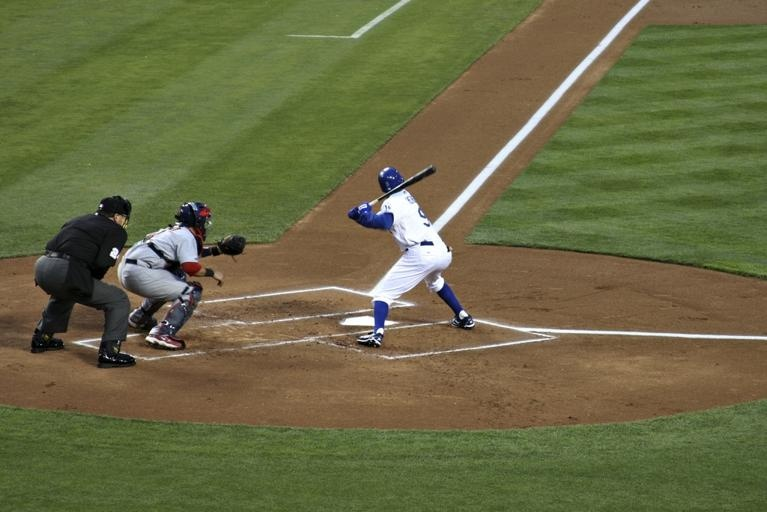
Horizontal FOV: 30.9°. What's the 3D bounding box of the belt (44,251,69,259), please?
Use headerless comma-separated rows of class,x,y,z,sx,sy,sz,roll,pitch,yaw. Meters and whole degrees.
belt,-4.542,-0.021,19.180,0.339,0.087,0.092,11,9,24

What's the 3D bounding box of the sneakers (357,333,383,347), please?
sneakers,-0.165,1.192,19.932,0.390,0.202,0.226,7,10,-10

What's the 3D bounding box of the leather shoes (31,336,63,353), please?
leather shoes,-4.773,1.218,19.546,0.510,0.215,0.199,-6,25,-23

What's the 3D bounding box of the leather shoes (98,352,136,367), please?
leather shoes,-3.729,1.434,19.190,0.523,0.216,0.204,-3,14,-15

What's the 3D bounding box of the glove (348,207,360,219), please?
glove,-0.417,-0.626,20.288,0.147,0.199,0.263,13,9,-2

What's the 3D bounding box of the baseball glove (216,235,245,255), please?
baseball glove,-2.323,-0.160,20.674,0.419,0.184,0.315,-9,6,42

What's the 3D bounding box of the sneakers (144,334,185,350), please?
sneakers,-3.104,1.218,19.788,0.704,0.192,0.196,3,7,0

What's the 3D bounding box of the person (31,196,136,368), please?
person,-4.148,0.316,19.354,1.578,2.303,0.862,14,12,0
